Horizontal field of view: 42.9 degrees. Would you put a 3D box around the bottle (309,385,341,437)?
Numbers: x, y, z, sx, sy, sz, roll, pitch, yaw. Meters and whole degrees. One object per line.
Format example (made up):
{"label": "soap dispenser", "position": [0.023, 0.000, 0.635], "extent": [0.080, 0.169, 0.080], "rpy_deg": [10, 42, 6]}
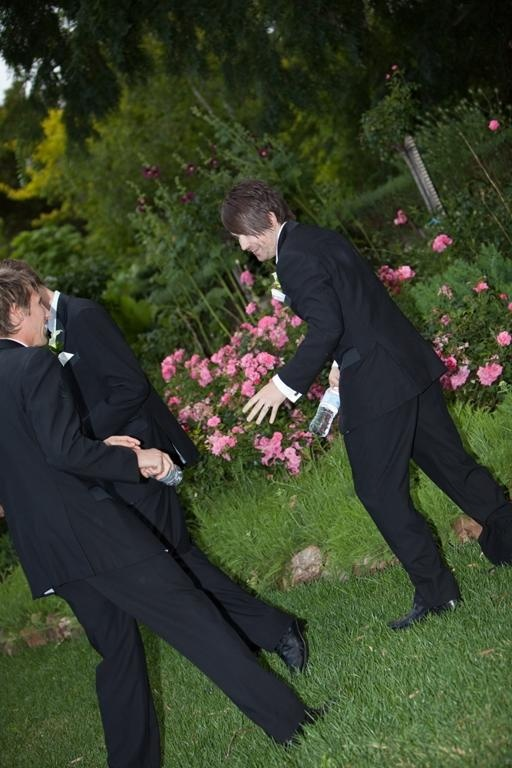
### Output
{"label": "bottle", "position": [0.291, 0.114, 2.733], "extent": [0.065, 0.114, 0.207], "rpy_deg": [64, -132, -78]}

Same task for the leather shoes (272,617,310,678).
{"label": "leather shoes", "position": [0.143, 1.037, 2.595], "extent": [0.110, 0.243, 0.087], "rpy_deg": [-3, -18, -20]}
